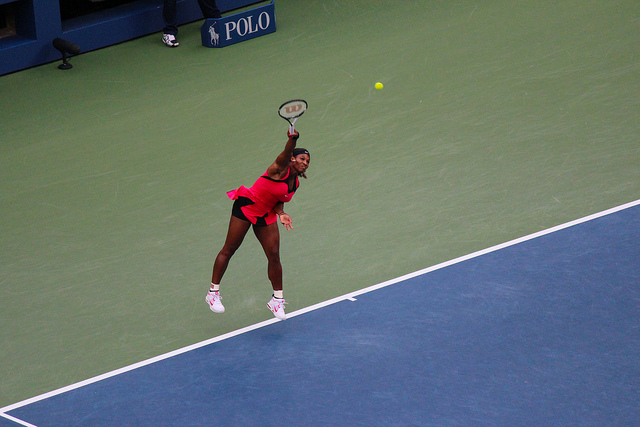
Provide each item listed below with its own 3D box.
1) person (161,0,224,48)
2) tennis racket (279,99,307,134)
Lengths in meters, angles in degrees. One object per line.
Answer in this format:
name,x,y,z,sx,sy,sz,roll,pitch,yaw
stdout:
person,-2.951,-4.301,16.642,1.498,1.008,0.799,-13,24,3
tennis racket,-0.316,-1.219,9.263,0.339,0.397,0.571,-16,23,0
